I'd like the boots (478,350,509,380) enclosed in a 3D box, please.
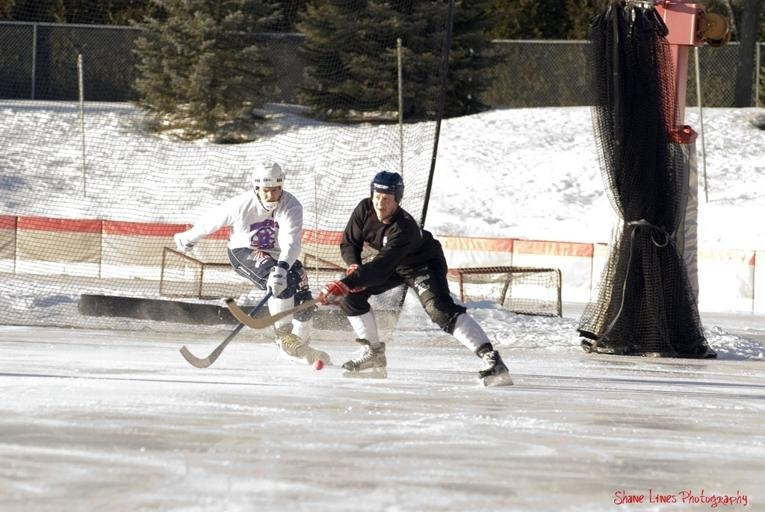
[{"bbox_3d":[1.313,1.294,13.886,0.365,0.395,0.158,2,4,4],"label":"boots"}]

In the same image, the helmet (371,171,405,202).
[{"bbox_3d":[0.131,-0.814,14.076,0.312,0.352,0.390,7,11,18],"label":"helmet"}]

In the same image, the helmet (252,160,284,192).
[{"bbox_3d":[-1.408,-0.968,14.827,0.332,0.342,0.342,2,-23,-4],"label":"helmet"}]

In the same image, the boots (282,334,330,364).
[{"bbox_3d":[-0.985,1.143,14.581,0.748,0.237,0.304,23,10,4],"label":"boots"}]

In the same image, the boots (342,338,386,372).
[{"bbox_3d":[-0.161,1.182,14.386,0.604,0.406,0.206,-6,3,28],"label":"boots"}]
